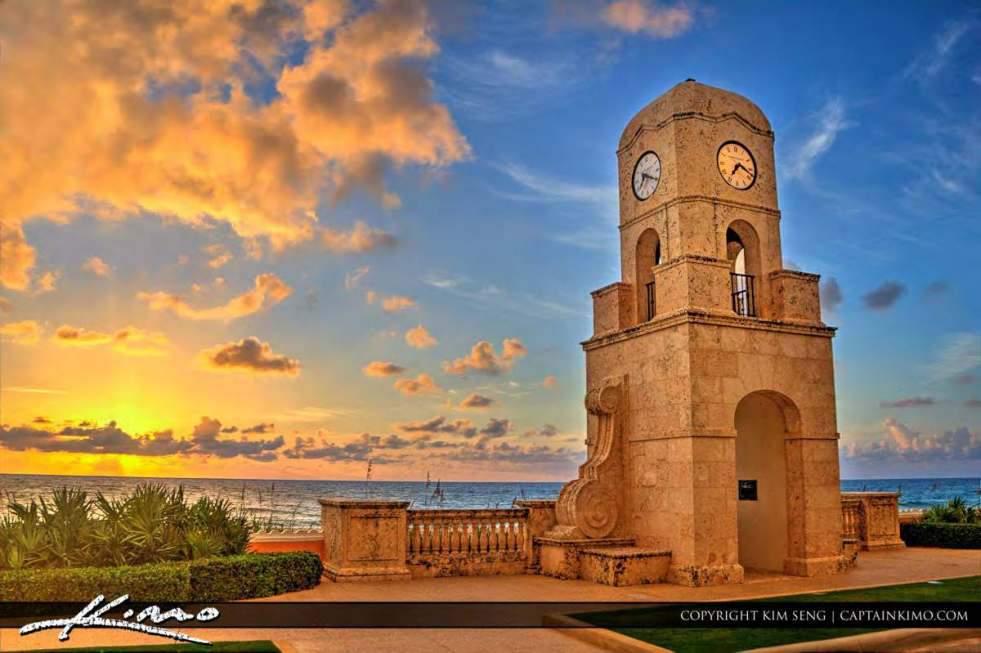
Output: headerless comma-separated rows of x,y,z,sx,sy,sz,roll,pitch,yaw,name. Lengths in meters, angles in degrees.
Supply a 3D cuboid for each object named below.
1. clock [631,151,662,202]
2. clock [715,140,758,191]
4.271,-4.121,22.562,0.176,1.544,1.378,6,-12,-26,clock
6.513,-4.311,22.118,1.410,1.319,0.187,7,-13,-27,clock
